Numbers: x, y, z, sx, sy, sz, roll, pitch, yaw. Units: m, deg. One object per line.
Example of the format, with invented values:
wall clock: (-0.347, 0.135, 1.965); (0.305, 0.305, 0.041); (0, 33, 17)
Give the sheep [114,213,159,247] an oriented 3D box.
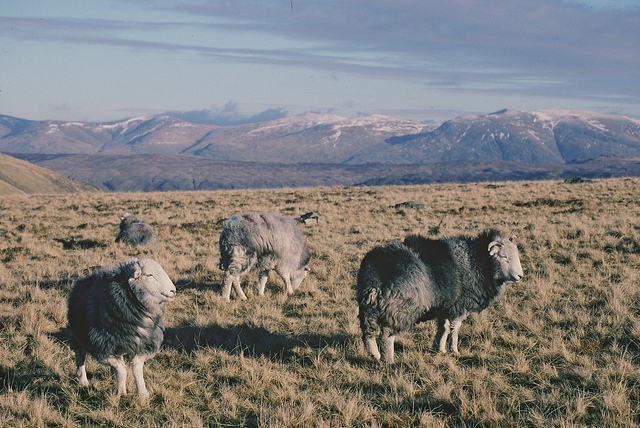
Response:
sheep: (-7.908, 0.649, 34.551); (1.047, 1.068, 1.721); (-7, 28, -38)
